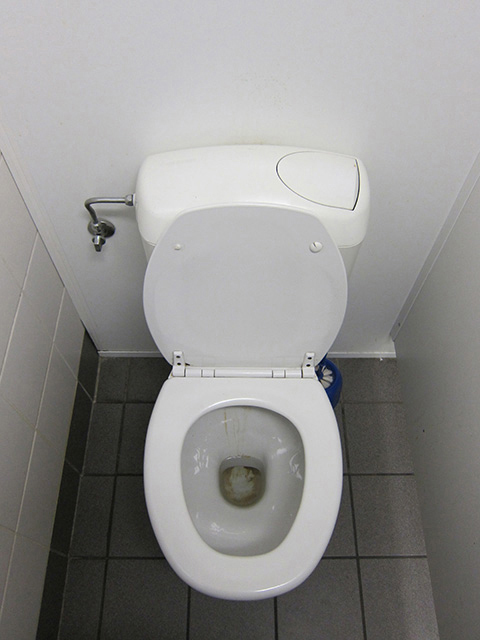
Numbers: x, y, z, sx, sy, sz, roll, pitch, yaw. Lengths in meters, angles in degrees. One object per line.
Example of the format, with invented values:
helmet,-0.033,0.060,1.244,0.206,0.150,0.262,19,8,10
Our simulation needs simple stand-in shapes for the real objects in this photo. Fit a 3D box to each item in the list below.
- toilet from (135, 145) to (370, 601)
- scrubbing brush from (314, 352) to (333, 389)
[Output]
toilet,0.023,0.180,1.051,0.306,0.736,0.752,4,53,2
scrubbing brush,0.216,0.136,1.322,0.069,0.020,0.083,-17,78,-44
